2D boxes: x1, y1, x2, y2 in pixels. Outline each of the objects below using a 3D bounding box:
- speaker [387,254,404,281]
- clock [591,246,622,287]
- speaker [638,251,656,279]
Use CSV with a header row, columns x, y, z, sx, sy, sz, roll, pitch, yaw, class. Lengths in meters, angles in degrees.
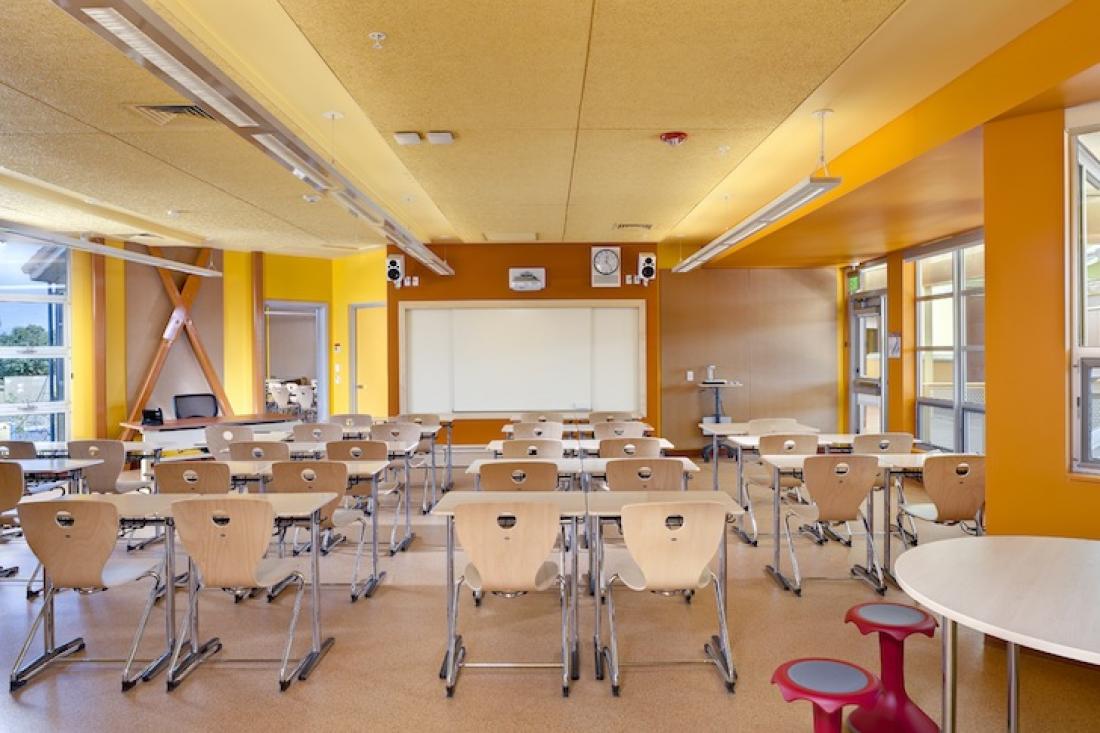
x,y,z,sx,sy,sz,roll,pitch,yaw,class
-2.378,-1.500,11.846,0.398,0.331,0.110,0,3,-15,speaker
0.882,-1.542,11.992,0.475,0.618,0.177,-2,-2,3,clock
1.502,-1.551,11.929,0.279,0.450,0.295,-3,-3,6,speaker
